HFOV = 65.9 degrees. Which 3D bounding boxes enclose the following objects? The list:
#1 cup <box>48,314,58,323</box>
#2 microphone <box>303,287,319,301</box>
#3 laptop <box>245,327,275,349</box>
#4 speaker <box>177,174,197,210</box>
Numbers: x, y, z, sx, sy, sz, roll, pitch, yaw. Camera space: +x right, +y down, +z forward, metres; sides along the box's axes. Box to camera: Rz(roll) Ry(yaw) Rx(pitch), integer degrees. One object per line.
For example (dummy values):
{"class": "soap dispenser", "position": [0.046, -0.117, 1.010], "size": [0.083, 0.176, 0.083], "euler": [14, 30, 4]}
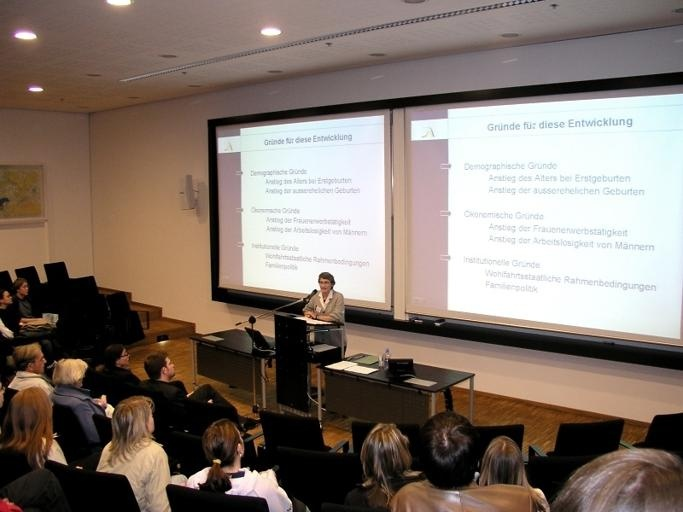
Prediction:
{"class": "cup", "position": [-4.209, 0.914, 7.706], "size": [0.104, 0.143, 0.139], "euler": [7, -9, -37]}
{"class": "microphone", "position": [-0.350, 0.469, 6.158], "size": [0.131, 0.097, 0.394], "euler": [-1, 2, -5]}
{"class": "laptop", "position": [-0.927, 0.944, 6.214], "size": [0.355, 0.230, 0.236], "euler": [1, 1, -44]}
{"class": "speaker", "position": [-2.733, -1.157, 9.499], "size": [0.323, 0.560, 0.196], "euler": [1, 0, -36]}
